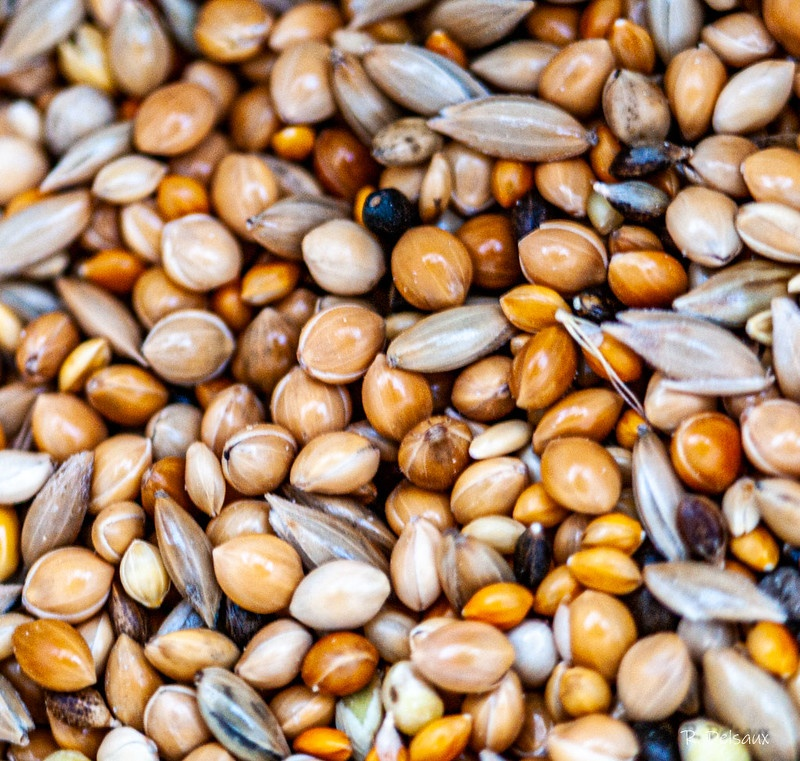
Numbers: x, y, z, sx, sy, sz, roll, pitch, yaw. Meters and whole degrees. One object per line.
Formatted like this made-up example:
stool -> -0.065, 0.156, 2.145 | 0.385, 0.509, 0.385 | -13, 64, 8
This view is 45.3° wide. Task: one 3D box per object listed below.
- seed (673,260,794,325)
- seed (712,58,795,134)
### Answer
seed -> 0.387, -0.093, 1.110 | 0.103, 0.050, 0.092 | -6, 74, 4
seed -> 0.431, -0.341, 1.167 | 0.106, 0.034, 0.072 | -44, 94, 9
